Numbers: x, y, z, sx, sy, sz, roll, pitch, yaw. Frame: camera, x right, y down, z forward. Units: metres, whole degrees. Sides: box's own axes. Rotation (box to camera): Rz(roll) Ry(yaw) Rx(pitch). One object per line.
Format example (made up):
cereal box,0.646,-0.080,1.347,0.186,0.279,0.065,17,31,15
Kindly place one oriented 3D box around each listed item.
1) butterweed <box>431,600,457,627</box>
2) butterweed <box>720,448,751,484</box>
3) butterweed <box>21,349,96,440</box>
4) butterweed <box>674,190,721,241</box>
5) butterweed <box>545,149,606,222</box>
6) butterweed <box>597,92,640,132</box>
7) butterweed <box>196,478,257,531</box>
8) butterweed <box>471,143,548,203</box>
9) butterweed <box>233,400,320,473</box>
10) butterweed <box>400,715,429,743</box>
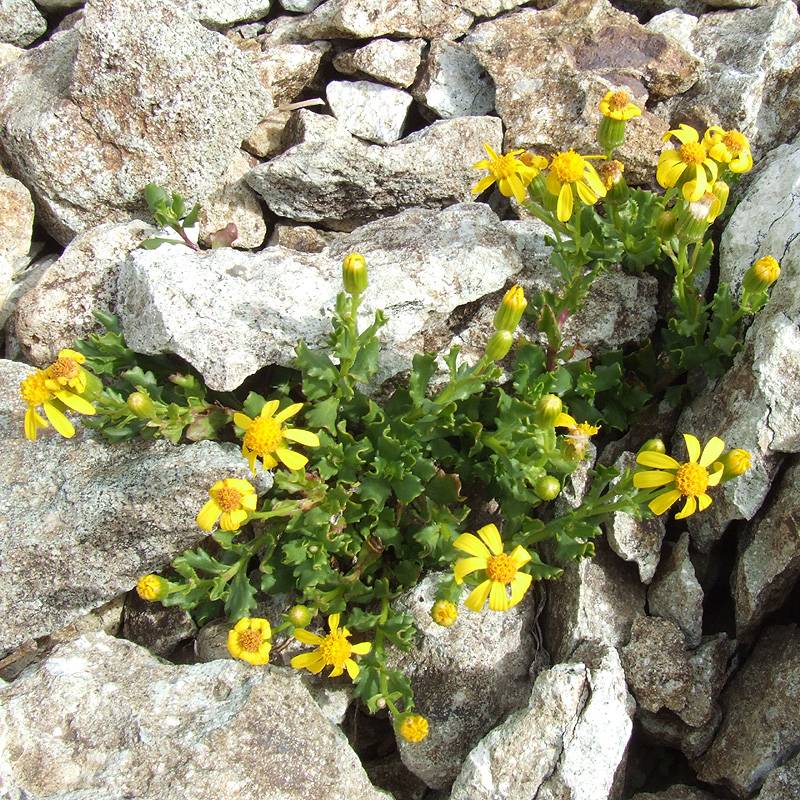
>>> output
butterweed,0.196,0.941,3.961,0.119,0.109,0.053,-16,6,-1
butterweed,1.442,0.279,3.798,0.091,0.166,0.077,-21,82,-6
butterweed,-1.533,-0.048,3.925,0.278,0.320,0.274,7,39,9
butterweed,1.430,-0.862,4.219,0.231,0.217,0.132,-27,46,-30
butterweed,0.821,-0.998,4.126,0.215,0.289,0.208,-17,41,-20
butterweed,1.050,-1.410,4.230,0.179,0.152,0.225,5,37,7
butterweed,-0.742,0.439,3.825,0.274,0.103,0.284,-3,-1,-21
butterweed,0.537,-1.085,4.286,0.370,0.127,0.330,4,78,17
butterweed,-0.530,0.176,3.809,0.316,0.385,0.284,-9,39,-10
butterweed,0.059,1.440,3.922,0.135,0.094,0.144,-12,55,9
